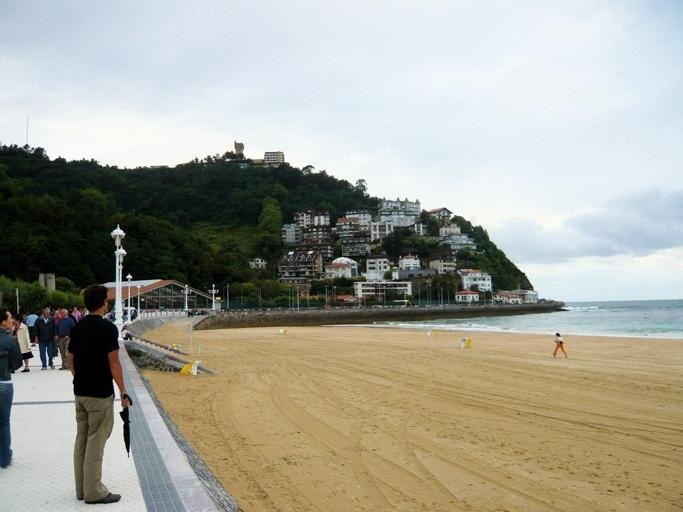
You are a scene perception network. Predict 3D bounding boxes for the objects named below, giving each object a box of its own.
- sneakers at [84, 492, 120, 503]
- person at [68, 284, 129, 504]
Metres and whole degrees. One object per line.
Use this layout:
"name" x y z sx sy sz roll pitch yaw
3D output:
"sneakers" -2.930 2.940 6.869 0.420 0.144 0.140 -2 1 -10
"person" -3.070 1.684 7.017 0.783 2.629 0.468 1 -3 34
